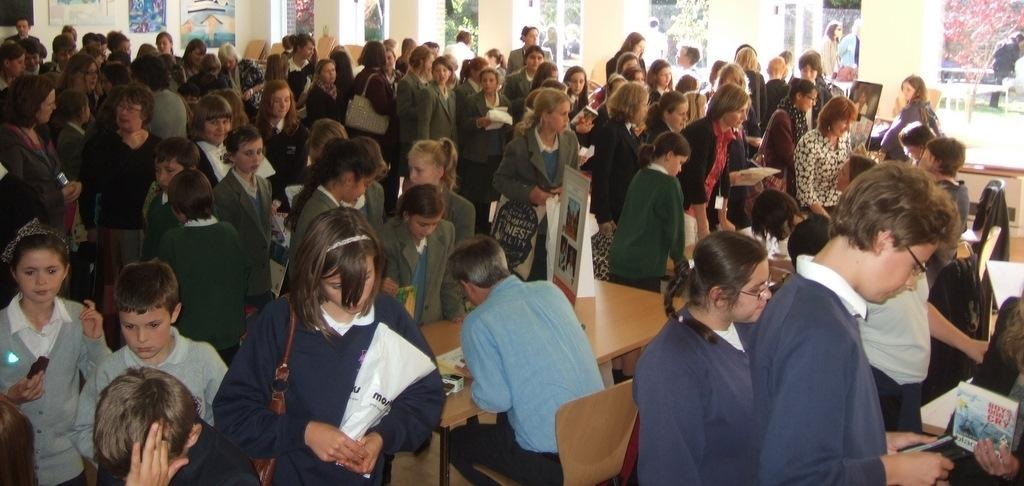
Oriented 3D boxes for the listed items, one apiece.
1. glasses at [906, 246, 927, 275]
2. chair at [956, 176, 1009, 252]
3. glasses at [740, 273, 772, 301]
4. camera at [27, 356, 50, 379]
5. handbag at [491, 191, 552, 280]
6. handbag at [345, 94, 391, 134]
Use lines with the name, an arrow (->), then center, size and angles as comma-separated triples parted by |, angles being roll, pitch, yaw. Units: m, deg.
glasses -> 2.922, 0.118, 5.499 | 0.054, 0.173, 0.173 | -23, -16, 9
chair -> 5.319, -0.266, 8.421 | 0.345, 0.878, 0.369 | 6, 7, 30
glasses -> 1.837, 0.337, 5.732 | 0.180, 0.049, 0.178 | 13, 16, 34
camera -> -3.879, 1.018, 6.217 | 0.158, 0.155, 0.124 | -2, 7, -32
handbag -> 0.139, -0.007, 7.789 | 0.452, 0.876, 0.802 | 6, 8, 33
handbag -> -2.058, -1.813, 10.733 | 0.668, 0.580, 0.427 | -3, 18, -43
